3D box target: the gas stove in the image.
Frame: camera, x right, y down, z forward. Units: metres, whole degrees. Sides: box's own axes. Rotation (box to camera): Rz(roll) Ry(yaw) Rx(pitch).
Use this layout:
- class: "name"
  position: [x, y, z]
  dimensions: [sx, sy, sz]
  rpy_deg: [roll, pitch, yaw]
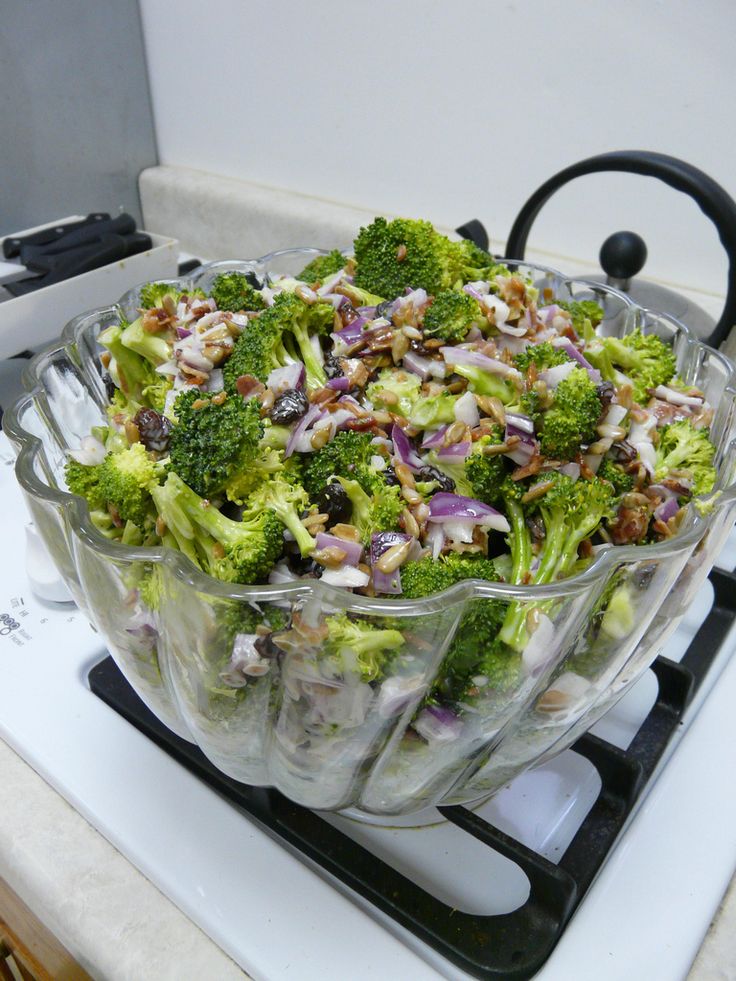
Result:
- class: "gas stove"
  position: [-0.085, 0.107, 0.699]
  dimensions: [0.536, 0.336, 0.507]
  rpy_deg: [-26, 46, -31]
